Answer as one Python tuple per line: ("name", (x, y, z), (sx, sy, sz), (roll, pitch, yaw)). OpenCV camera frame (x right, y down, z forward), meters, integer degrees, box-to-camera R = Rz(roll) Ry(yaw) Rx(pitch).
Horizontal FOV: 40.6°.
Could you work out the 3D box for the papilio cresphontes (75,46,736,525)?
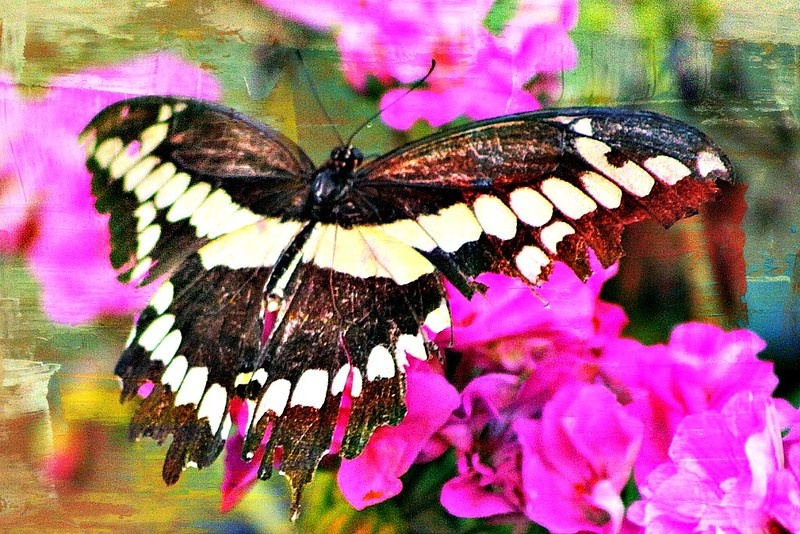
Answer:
("papilio cresphontes", (-0.071, 0.030, 1.322), (0.759, 0.326, 0.510), (15, 63, 3))
